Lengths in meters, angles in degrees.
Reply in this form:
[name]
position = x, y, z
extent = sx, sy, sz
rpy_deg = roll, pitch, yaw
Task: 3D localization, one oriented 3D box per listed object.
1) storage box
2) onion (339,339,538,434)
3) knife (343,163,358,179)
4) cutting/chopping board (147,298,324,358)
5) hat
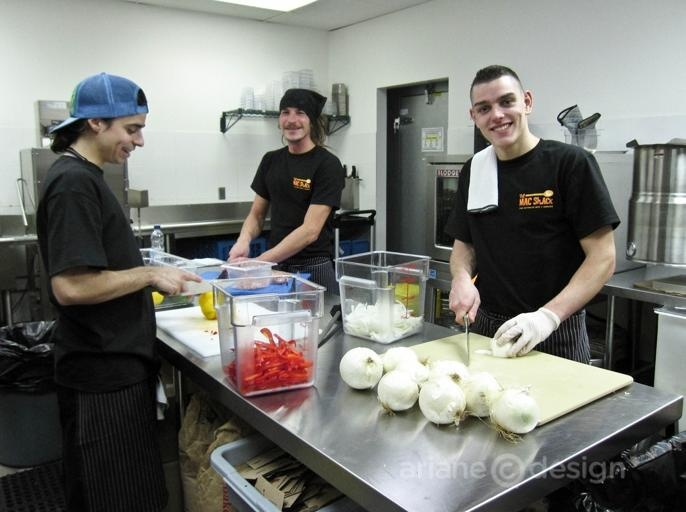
[storage box]
position = -0.225, 0.252, 1.793
extent = 0.643, 0.303, 0.882
rpy_deg = -3, 4, -29
[onion]
position = 0.262, 0.306, 1.419
extent = 0.411, 0.118, 0.230
rpy_deg = 11, 4, 30
[knife]
position = 0.058, -0.985, 5.946
extent = 0.142, 0.157, 0.292
rpy_deg = -10, 16, -28
[cutting/chopping board]
position = -0.608, 0.295, 2.090
extent = 0.356, 0.089, 0.373
rpy_deg = -4, 10, -35
[hat]
position = -0.829, -0.512, 1.757
extent = 0.285, 0.162, 0.190
rpy_deg = 0, 24, -16
